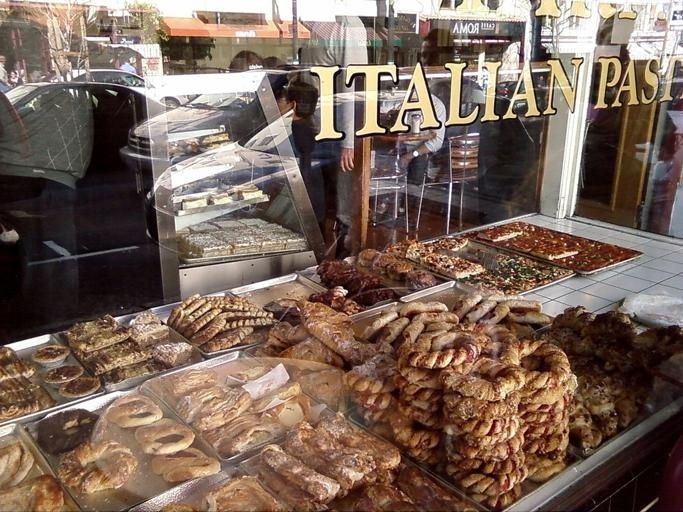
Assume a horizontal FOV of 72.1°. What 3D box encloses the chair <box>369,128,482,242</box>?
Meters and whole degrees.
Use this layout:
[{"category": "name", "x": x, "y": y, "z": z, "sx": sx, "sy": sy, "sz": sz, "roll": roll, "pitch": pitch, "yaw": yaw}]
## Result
[{"category": "chair", "x": 0.514, "y": -0.431, "z": 3.025, "sx": 0.858, "sy": 0.628, "sz": 0.697, "roll": 11, "pitch": 32, "yaw": 17}]
